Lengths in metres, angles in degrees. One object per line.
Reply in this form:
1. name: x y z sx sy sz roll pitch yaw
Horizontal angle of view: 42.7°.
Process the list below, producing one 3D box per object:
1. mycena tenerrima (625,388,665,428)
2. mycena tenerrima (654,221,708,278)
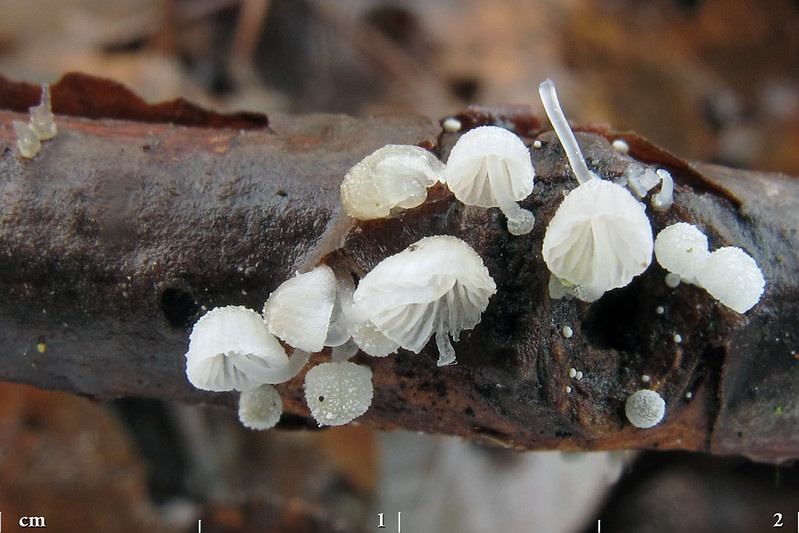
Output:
1. mycena tenerrima: 1.229 0.718 5.158 0.204 0.168 0.193 -7 80 -1
2. mycena tenerrima: 1.381 -0.089 5.038 0.267 0.106 0.247 31 82 5
